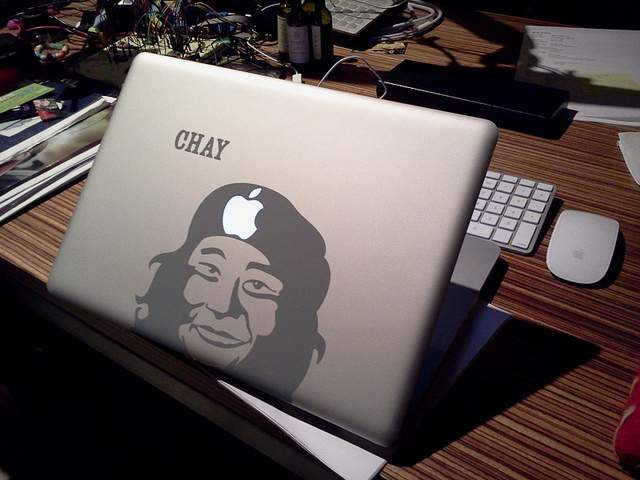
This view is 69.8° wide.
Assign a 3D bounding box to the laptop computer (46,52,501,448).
[{"bbox_3d":[-0.052,0.069,0.828,0.683,0.422,0.521,22,32,15],"label":"laptop computer"}]

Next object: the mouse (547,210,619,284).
[{"bbox_3d":[0.429,0.011,0.763,0.092,0.071,0.122,22,37,24],"label":"mouse"}]
